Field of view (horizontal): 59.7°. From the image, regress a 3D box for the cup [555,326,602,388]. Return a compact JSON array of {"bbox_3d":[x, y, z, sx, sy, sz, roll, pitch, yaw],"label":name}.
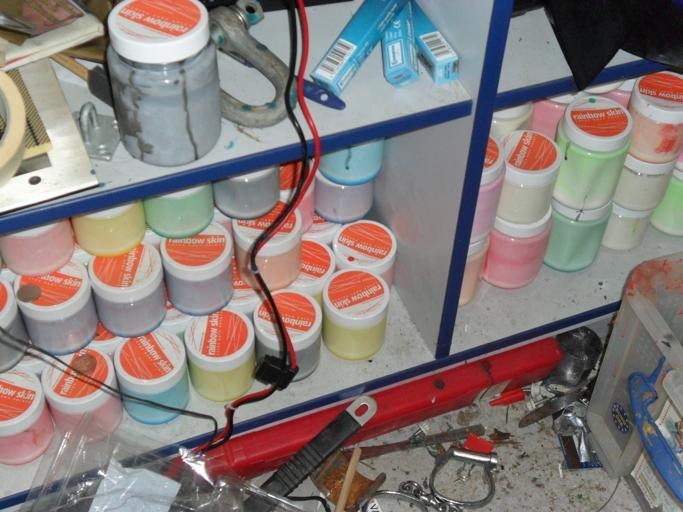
[{"bbox_3d":[0.544,0.226,1.414,0.097,0.117,0.136,9,70,-6],"label":"cup"}]
